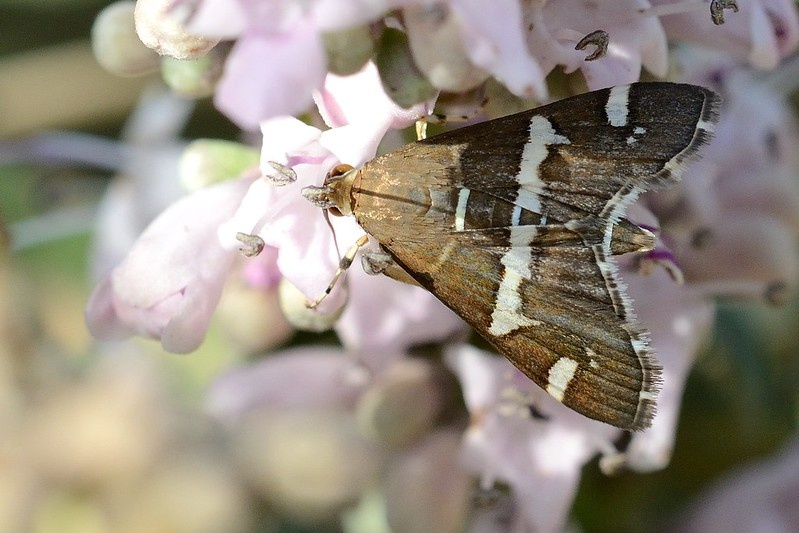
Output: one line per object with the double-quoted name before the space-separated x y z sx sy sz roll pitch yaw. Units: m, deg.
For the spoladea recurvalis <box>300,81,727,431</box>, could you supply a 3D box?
"spoladea recurvalis" 0.095 -0.026 0.858 0.389 0.169 0.343 9 75 5
